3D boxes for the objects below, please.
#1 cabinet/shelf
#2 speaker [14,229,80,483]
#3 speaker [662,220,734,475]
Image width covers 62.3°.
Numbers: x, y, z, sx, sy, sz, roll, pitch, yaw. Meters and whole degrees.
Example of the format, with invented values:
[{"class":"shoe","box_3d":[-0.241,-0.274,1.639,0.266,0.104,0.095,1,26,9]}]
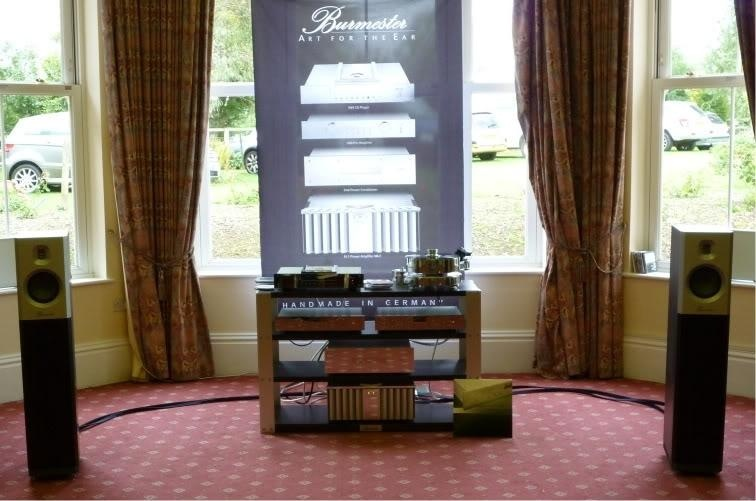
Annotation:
[{"class":"cabinet/shelf","box_3d":[-0.029,0.732,4.305,1.489,0.949,0.532,-1,1,9]},{"class":"speaker","box_3d":[-1.901,0.607,3.564,0.283,1.364,0.244,-5,12,-19]},{"class":"speaker","box_3d":[1.813,0.578,3.551,0.374,1.397,0.340,5,13,28]}]
